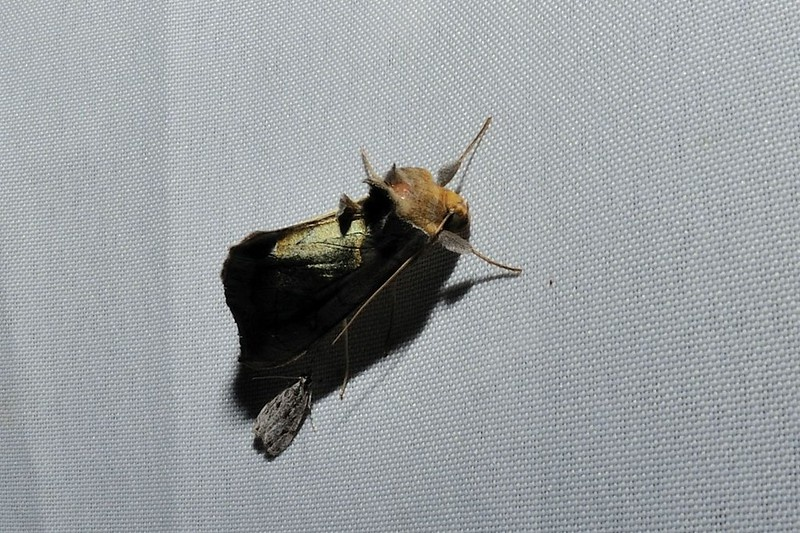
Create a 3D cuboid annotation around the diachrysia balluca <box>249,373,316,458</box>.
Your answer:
[{"bbox_3d":[-0.173,0.223,1.856,0.076,0.032,0.120,36,86,11],"label":"diachrysia balluca"}]
